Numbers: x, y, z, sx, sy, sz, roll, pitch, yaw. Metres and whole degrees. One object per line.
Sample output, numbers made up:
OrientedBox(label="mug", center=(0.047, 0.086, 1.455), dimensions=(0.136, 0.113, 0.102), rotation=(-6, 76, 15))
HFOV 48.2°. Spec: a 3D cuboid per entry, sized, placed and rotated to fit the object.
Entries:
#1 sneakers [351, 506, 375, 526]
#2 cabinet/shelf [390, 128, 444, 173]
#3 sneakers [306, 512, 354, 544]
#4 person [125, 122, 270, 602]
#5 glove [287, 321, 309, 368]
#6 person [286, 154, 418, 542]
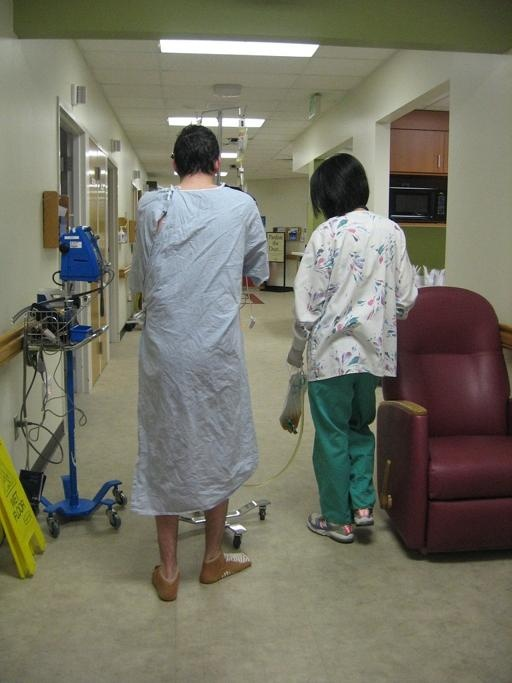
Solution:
OrientedBox(label="sneakers", center=(0.425, 0.683, 2.233), dimensions=(0.041, 0.054, 0.114), rotation=(-1, 0, 0))
OrientedBox(label="cabinet/shelf", center=(1.653, -1.898, 5.902), dimensions=(0.675, 0.468, 0.400), rotation=(1, 1, 2))
OrientedBox(label="sneakers", center=(0.318, 0.757, 2.372), dimensions=(0.076, 0.096, 0.199), rotation=(8, 6, -43))
OrientedBox(label="person", center=(-0.167, 0.083, 1.821), dimensions=(0.447, 1.504, 0.275), rotation=(0, 4, -13))
OrientedBox(label="glove", center=(0.172, 0.002, 2.239), dimensions=(0.051, 0.215, 0.066), rotation=(-22, 55, -12))
OrientedBox(label="person", center=(0.371, 0.033, 2.247), dimensions=(0.493, 1.550, 0.349), rotation=(1, 4, 2))
